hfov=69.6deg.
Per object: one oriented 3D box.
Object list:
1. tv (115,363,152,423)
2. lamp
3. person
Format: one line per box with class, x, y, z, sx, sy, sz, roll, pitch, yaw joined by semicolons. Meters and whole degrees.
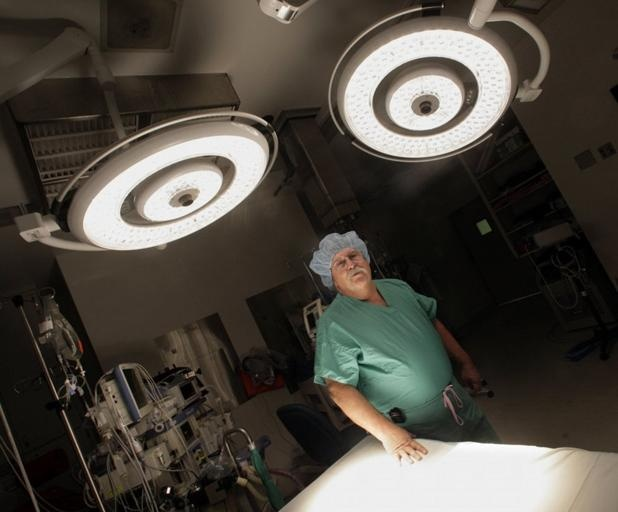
tv;-1.164;0.902;2.988;0.077;0.389;0.319;-14;4;-7
lamp;-0.184;-0.737;2.572;1.851;0.965;0.883;-24;-37;-7
person;0.384;0.420;2.125;0.464;1.095;0.884;-31;-10;35
